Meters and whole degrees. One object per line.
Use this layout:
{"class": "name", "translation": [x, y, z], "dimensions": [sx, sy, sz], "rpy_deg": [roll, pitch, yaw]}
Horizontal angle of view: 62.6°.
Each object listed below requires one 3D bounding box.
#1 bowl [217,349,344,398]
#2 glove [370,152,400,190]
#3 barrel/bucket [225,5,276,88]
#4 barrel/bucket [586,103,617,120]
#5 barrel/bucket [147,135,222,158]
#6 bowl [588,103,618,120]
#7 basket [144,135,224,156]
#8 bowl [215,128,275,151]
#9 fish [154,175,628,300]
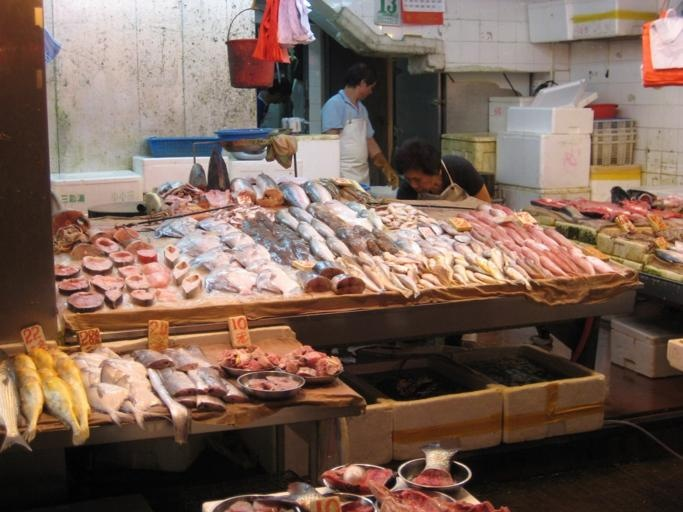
{"class": "bowl", "translation": [-0.247, 0.425, 2.087], "dimensions": [0.432, 0.115, 0.341], "rpy_deg": [3, 15, 21]}
{"class": "glove", "translation": [0.512, -1.114, 7.250], "dimensions": [0.303, 0.232, 0.947], "rpy_deg": [21, 22, -18]}
{"class": "barrel/bucket", "translation": [-0.760, -1.613, 4.675], "dimensions": [0.367, 0.395, 0.383], "rpy_deg": [-3, 14, 1]}
{"class": "barrel/bucket", "translation": [3.374, -1.880, 7.313], "dimensions": [0.324, 0.193, 0.348], "rpy_deg": [-2, 9, 0]}
{"class": "barrel/bucket", "translation": [-1.691, -1.168, 5.995], "dimensions": [0.849, 0.238, 0.595], "rpy_deg": [-4, 11, -14]}
{"class": "bowl", "translation": [3.376, -1.876, 7.303], "dimensions": [0.307, 0.186, 0.339], "rpy_deg": [5, 10, 38]}
{"class": "basket", "translation": [-1.698, -1.182, 6.001], "dimensions": [0.849, 0.236, 0.594], "rpy_deg": [-4, 8, -13]}
{"class": "bowl", "translation": [-0.814, -0.975, 4.740], "dimensions": [0.445, 0.187, 0.459], "rpy_deg": [-3, 14, 1]}
{"class": "fish", "translation": [0.224, -0.102, 3.519], "dimensions": [2.448, 0.447, 1.367], "rpy_deg": [-7, 14, -16]}
